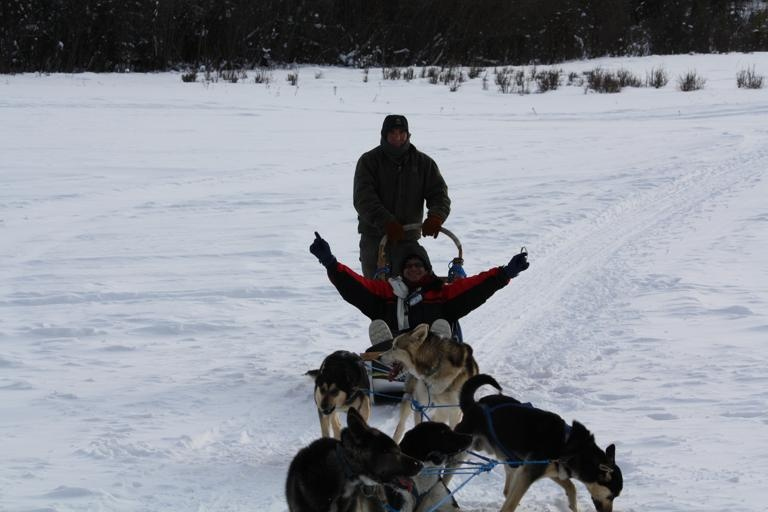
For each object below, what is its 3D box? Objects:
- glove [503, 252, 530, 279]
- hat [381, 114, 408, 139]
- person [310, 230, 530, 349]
[{"bbox_3d":[1.847,0.127,15.519,0.434,0.249,0.144,-42,-7,9],"label":"glove"},{"bbox_3d":[0.137,-1.955,16.470,0.356,0.318,0.353,-1,2,-12],"label":"hat"},{"bbox_3d":[0.483,0.554,15.999,3.004,1.205,0.791,3,7,22],"label":"person"}]
